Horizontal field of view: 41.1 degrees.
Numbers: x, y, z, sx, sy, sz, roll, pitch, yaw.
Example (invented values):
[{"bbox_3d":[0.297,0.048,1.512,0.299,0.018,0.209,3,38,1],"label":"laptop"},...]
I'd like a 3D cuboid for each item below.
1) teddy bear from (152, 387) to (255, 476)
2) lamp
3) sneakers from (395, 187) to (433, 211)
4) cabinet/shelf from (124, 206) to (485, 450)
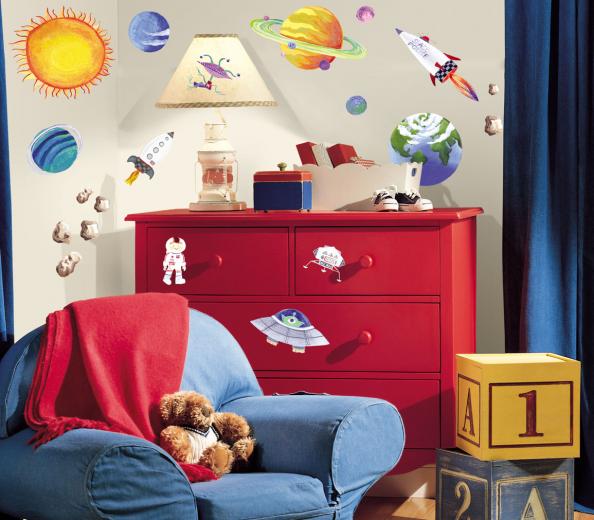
[{"bbox_3d":[-0.273,0.461,2.193,0.213,0.190,0.257,-6,-3,43],"label":"teddy bear"},{"bbox_3d":[-0.316,-0.506,2.927,0.440,0.646,0.429,8,12,38],"label":"lamp"},{"bbox_3d":[0.393,-0.197,2.715,0.158,0.069,0.054,2,10,21],"label":"sneakers"},{"bbox_3d":[0.029,0.229,2.496,0.803,0.713,0.345,0,0,11],"label":"cabinet/shelf"}]
